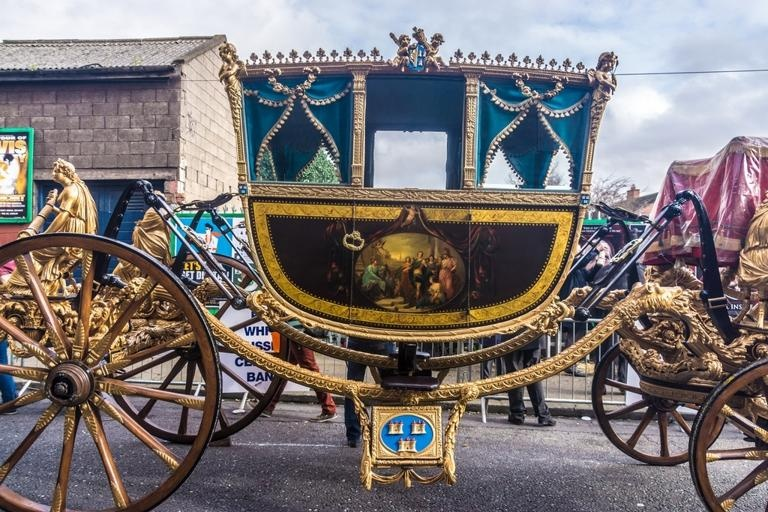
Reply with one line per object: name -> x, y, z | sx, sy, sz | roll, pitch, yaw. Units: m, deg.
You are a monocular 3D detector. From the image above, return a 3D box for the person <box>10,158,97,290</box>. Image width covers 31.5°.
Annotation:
person -> -3.780, -0.347, 15.695 | 0.942, 1.534, 0.597 | -1, 4, -39

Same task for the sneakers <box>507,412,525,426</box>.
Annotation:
sneakers -> 1.660, 2.024, 16.945 | 0.187, 0.156, 0.389 | 1, -1, 7

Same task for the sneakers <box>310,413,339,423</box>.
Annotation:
sneakers -> -0.740, 1.999, 16.887 | 0.309, 0.095, 0.118 | 3, -7, -8

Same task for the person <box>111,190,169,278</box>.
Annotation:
person -> -2.817, -0.231, 15.969 | 0.693, 1.048, 0.799 | 1, 3, -9

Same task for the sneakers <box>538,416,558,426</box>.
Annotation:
sneakers -> 2.018, 2.038, 16.857 | 0.273, 0.092, 0.093 | 1, 0, -12
